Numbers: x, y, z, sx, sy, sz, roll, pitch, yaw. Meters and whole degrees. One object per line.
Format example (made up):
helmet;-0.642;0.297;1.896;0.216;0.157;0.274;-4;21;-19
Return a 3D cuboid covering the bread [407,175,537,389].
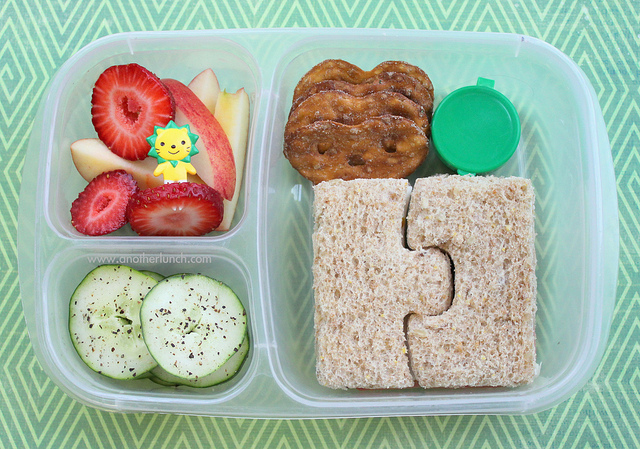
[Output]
bread;0.526;0.192;2.370;0.432;0.717;0.109;0;-8;1

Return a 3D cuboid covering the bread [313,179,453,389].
bread;0.165;0.202;2.469;0.550;0.900;0.209;0;-6;4

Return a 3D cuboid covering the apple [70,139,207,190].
apple;-0.678;-0.198;2.556;0.375;0.227;0.112;13;-3;0

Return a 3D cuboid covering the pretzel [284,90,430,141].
pretzel;0.136;-0.400;2.449;0.520;0.157;0.099;-2;-8;1

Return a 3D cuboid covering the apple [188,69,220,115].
apple;-0.411;-0.496;2.536;0.133;0.150;0.113;-8;20;-4

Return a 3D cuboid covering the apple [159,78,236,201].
apple;-0.392;-0.309;2.476;0.255;0.440;0.234;-7;24;1
